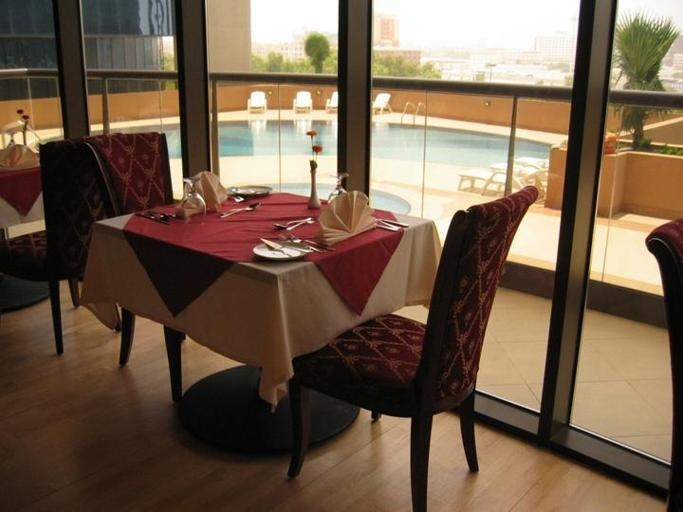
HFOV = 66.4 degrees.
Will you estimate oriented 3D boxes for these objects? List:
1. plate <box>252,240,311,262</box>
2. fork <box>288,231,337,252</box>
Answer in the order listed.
[{"bbox_3d":[-0.221,-0.022,1.888,0.199,0.037,0.162,4,19,14],"label":"plate"},{"bbox_3d":[-0.111,-0.072,1.968,0.063,0.035,0.244,-20,27,-36],"label":"fork"}]
